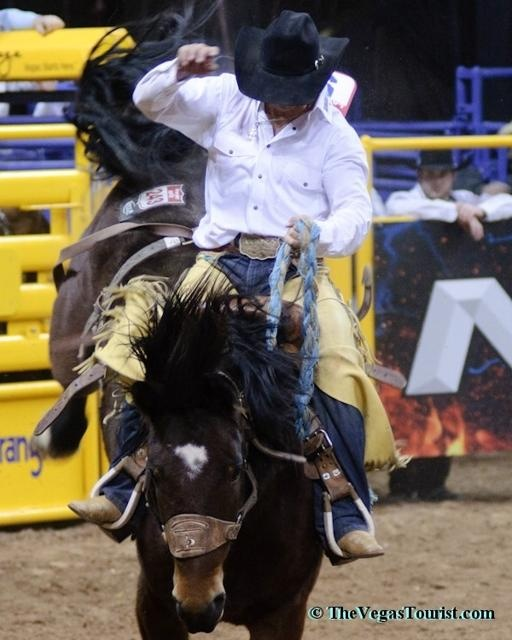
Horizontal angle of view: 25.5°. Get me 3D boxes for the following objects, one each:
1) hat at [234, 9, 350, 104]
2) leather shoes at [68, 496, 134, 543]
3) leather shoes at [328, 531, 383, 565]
[{"bbox_3d":[0.148,-0.973,4.057,0.438,0.187,0.451,10,47,14],"label":"hat"},{"bbox_3d":[-0.550,0.658,3.852,0.104,0.266,0.105,10,64,28],"label":"leather shoes"},{"bbox_3d":[0.344,0.779,3.875,0.080,0.071,0.207,1,-13,-24],"label":"leather shoes"}]
